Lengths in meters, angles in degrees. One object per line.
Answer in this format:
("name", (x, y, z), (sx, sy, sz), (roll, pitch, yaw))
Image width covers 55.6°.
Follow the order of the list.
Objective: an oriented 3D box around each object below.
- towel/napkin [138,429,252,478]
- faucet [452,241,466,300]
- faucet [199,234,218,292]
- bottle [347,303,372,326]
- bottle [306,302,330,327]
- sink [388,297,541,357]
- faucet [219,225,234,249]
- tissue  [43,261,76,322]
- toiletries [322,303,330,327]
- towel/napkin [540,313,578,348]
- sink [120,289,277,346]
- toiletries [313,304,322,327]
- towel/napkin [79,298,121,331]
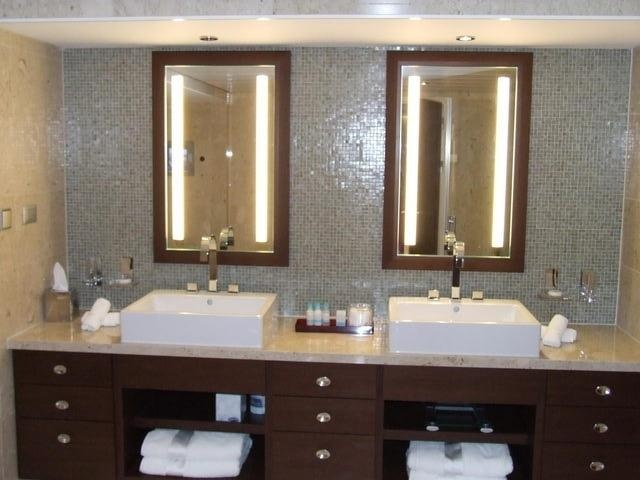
("towel/napkin", (-0.701, 1.180, 3.267), (0.328, 0.124, 0.336), (2, -1, 1))
("faucet", (0.791, 0.173, 3.506), (0.060, 0.328, 0.143), (4, 5, 12))
("faucet", (-0.648, 0.141, 3.527), (0.099, 0.332, 0.100), (1, 5, -15))
("bottle", (0.223, 0.430, 3.498), (0.114, 0.117, 0.118), (0, 7, -6))
("bottle", (-0.012, 0.433, 3.494), (0.114, 0.114, 0.040), (1, 6, 3))
("sink", (0.762, 0.468, 3.322), (0.773, 0.246, 0.427), (3, 5, 3))
("faucet", (-0.549, -0.007, 3.573), (0.087, 0.141, 0.198), (2, 5, -10))
("tissue ", (-1.545, 0.310, 3.595), (0.170, 0.340, 0.113), (2, 5, -7))
("toiletries", (0.035, 0.425, 3.494), (0.044, 0.121, 0.080), (3, 5, -1))
("towel/napkin", (1.292, 0.490, 3.284), (0.161, 0.063, 0.169), (0, 29, 19))
("sink", (-0.657, 0.432, 3.413), (0.782, 0.238, 0.466), (3, 5, 4))
("toiletries", (-0.014, 0.423, 3.540), (0.053, 0.118, 0.174), (3, 5, -1))
("towel/napkin", (-1.256, 0.413, 3.488), (0.165, 0.076, 0.208), (7, 41, -7))
